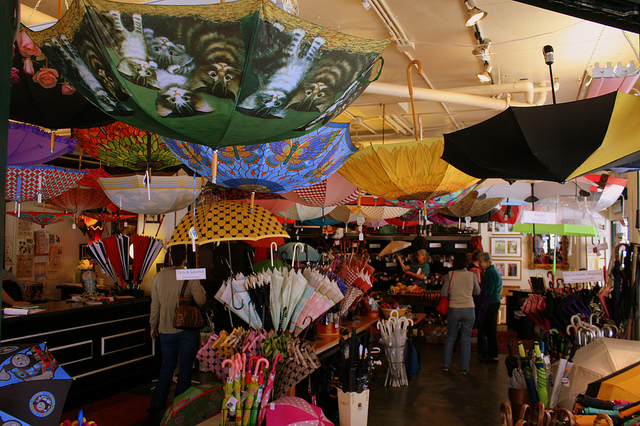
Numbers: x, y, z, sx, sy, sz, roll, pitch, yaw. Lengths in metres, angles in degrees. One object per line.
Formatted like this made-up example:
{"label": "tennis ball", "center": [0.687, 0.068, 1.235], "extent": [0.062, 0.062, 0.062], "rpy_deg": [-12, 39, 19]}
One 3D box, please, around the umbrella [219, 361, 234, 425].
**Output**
{"label": "umbrella", "center": [-0.655, 1.285, 3.370], "extent": [0.070, 0.350, 0.094], "rpy_deg": [1, -1, 18]}

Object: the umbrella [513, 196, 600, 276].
{"label": "umbrella", "center": [3.316, 0.255, 6.683], "extent": [1.199, 1.070, 1.218], "rpy_deg": [3, -7, -43]}

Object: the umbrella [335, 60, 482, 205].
{"label": "umbrella", "center": [0.749, -0.410, 4.377], "extent": [1.327, 1.286, 1.356], "rpy_deg": [-1, -8, 21]}

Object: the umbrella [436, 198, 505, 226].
{"label": "umbrella", "center": [2.475, -0.042, 8.080], "extent": [0.918, 0.398, 0.902], "rpy_deg": [8, -8, -44]}

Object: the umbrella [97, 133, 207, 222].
{"label": "umbrella", "center": [-1.596, -0.318, 4.373], "extent": [0.805, 0.677, 0.745], "rpy_deg": [1, -5, -1]}

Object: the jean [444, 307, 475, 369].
{"label": "jean", "center": [2.120, 1.883, 7.161], "extent": [0.408, 0.999, 0.407], "rpy_deg": [1, -1, 14]}

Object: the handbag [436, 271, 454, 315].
{"label": "handbag", "center": [1.952, 1.219, 7.269], "extent": [0.162, 0.693, 0.523], "rpy_deg": [1, -1, 4]}

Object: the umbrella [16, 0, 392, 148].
{"label": "umbrella", "center": [-0.702, -0.741, 2.496], "extent": [1.209, 0.439, 1.245], "rpy_deg": [-3, -12, 33]}

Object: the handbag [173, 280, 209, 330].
{"label": "handbag", "center": [-1.520, 1.064, 5.475], "extent": [0.364, 0.478, 0.201], "rpy_deg": [1, -1, -25]}

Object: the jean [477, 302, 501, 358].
{"label": "jean", "center": [2.877, 1.954, 8.002], "extent": [0.329, 0.925, 0.413], "rpy_deg": [1, -1, 19]}

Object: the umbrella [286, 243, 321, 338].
{"label": "umbrella", "center": [-0.120, 0.774, 4.321], "extent": [0.227, 0.646, 0.269], "rpy_deg": [7, -5, 2]}

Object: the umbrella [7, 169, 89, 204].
{"label": "umbrella", "center": [-2.529, -0.268, 4.373], "extent": [0.630, 0.327, 0.471], "rpy_deg": [2, -1, -33]}
